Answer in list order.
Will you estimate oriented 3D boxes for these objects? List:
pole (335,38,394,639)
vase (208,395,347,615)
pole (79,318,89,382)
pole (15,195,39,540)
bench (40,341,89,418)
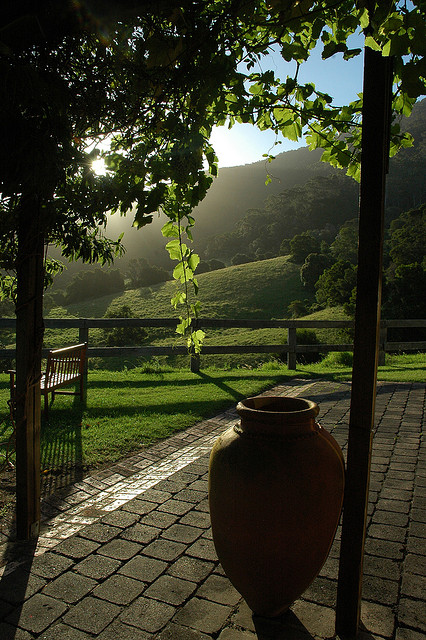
[{"bbox_3d":[0.612,0.092,1.963,0.188,2.347,0.272,0,2,20],"label":"pole"},{"bbox_3d":[0.267,0.820,2.130,0.607,0.859,0.525,-1,-4,22],"label":"vase"},{"bbox_3d":[-2.043,0.281,7.629,0.125,0.581,0.334,-1,2,-16],"label":"pole"},{"bbox_3d":[-1.052,0.294,2.743,0.143,1.898,0.260,-1,2,-22],"label":"pole"},{"bbox_3d":[-1.881,0.692,5.719,0.381,0.714,1.048,1,3,6],"label":"bench"}]
